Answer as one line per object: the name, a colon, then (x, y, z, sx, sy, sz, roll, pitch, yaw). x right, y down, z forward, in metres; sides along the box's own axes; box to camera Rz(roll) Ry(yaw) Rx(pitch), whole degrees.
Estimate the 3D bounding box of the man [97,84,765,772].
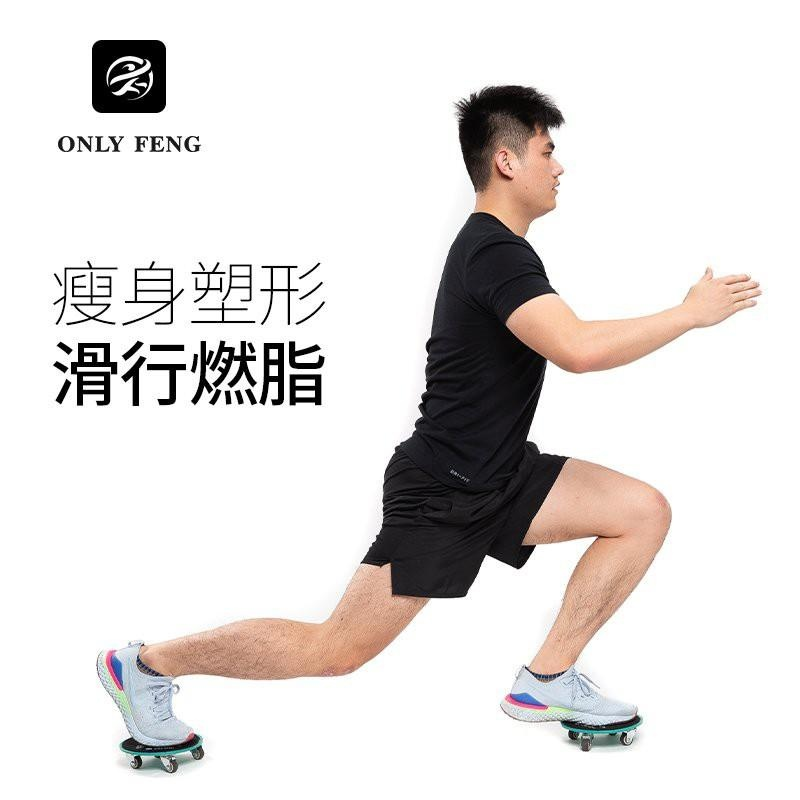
man: (0.104, 0.094, 2.597, 1.398, 1.961, 0.683, 3, 16, -22)
